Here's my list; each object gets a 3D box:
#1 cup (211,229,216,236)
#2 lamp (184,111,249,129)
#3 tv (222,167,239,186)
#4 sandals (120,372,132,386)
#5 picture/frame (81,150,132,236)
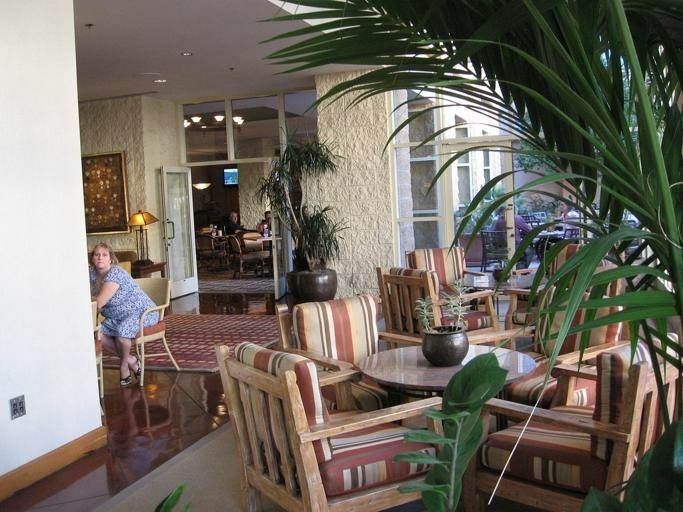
[{"bbox_3d":[-3.277,-0.611,13.026,0.104,0.163,0.167,-1,-3,-18],"label":"cup"},{"bbox_3d":[-2.672,-2.599,9.826,1.105,0.238,0.091,-2,14,21],"label":"lamp"},{"bbox_3d":[-3.691,-2.664,16.957,0.789,0.690,0.077,1,1,1],"label":"tv"},{"bbox_3d":[-1.994,1.152,4.697,0.054,0.062,0.154,3,4,4],"label":"sandals"},{"bbox_3d":[-4.373,-1.149,9.368,1.003,1.490,0.220,-1,8,20],"label":"picture/frame"}]
